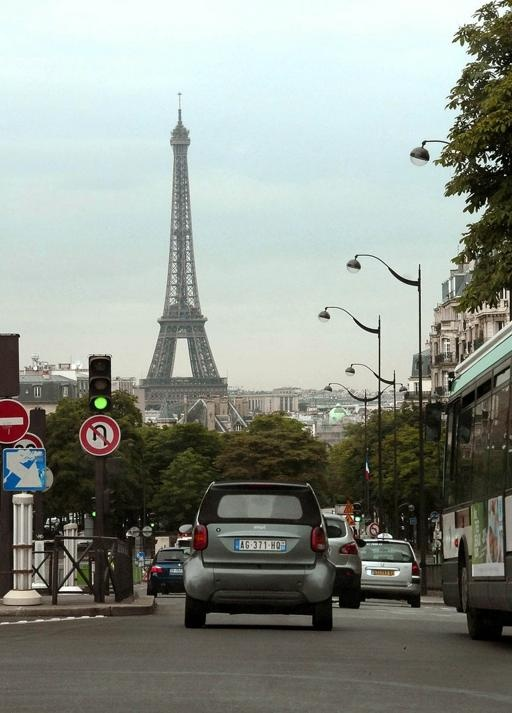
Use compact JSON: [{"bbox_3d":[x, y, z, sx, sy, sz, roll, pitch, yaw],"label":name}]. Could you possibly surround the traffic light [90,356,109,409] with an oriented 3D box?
[{"bbox_3d":[-1.989,0.349,17.884,0.277,0.711,0.575,0,-7,-7],"label":"traffic light"}]
